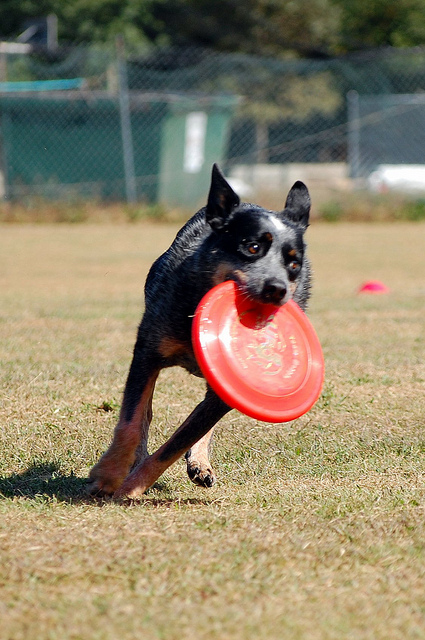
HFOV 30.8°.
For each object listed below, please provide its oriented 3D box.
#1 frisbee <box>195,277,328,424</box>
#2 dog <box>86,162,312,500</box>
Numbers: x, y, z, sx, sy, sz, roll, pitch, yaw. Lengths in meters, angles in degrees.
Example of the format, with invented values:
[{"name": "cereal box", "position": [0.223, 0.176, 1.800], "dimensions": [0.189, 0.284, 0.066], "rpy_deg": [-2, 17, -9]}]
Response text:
[{"name": "frisbee", "position": [0.204, 0.090, 2.710], "dimensions": [0.338, 0.475, 0.697], "rpy_deg": [5, 3, 38]}, {"name": "dog", "position": [-0.089, 0.123, 3.573], "dimensions": [0.688, 1.324, 2.156], "rpy_deg": [16, -9, -10]}]
